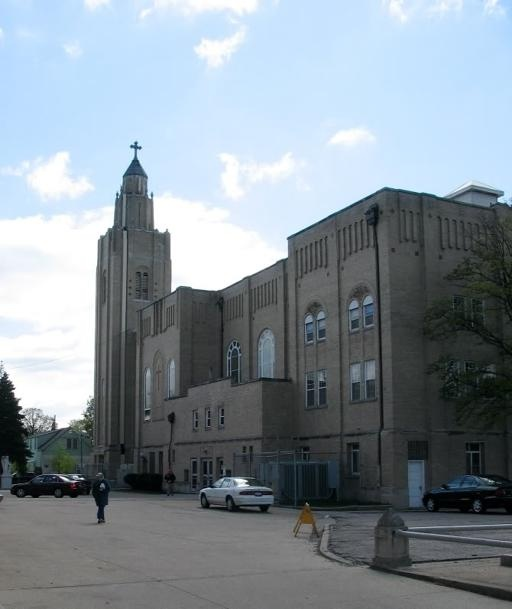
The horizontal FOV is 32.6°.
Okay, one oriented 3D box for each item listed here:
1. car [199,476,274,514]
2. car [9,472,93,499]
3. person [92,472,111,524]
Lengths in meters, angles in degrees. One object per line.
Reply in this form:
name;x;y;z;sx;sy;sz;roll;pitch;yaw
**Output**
car;-0.800;7.131;32.917;1.275;0.972;2.821;8;-12;-26
car;-11.139;9.943;47.823;3.933;1.320;2.837;2;-13;-11
person;-4.494;5.596;25.277;0.432;1.414;1.341;1;-12;-10
